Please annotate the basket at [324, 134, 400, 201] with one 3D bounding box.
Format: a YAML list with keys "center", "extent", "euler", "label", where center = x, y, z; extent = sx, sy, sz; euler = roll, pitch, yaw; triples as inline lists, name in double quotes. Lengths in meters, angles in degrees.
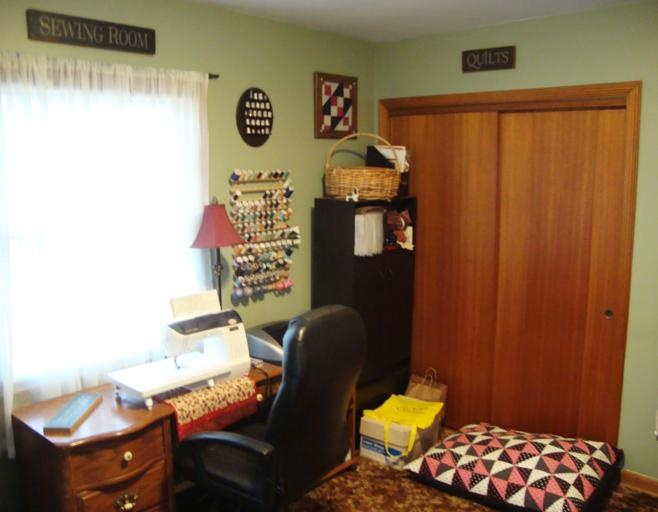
- center: [0.250, -0.674, 4.056]
  extent: [0.563, 0.542, 0.565]
  euler: [1, 0, 41]
  label: "basket"

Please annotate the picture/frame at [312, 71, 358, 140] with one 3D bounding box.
- center: [0.034, -1.172, 4.055]
  extent: [0.064, 0.514, 0.484]
  euler: [9, 14, 38]
  label: "picture/frame"

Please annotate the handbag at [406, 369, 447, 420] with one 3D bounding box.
- center: [0.786, 1.086, 4.270]
  extent: [0.303, 0.366, 0.134]
  euler: [13, 33, 19]
  label: "handbag"
